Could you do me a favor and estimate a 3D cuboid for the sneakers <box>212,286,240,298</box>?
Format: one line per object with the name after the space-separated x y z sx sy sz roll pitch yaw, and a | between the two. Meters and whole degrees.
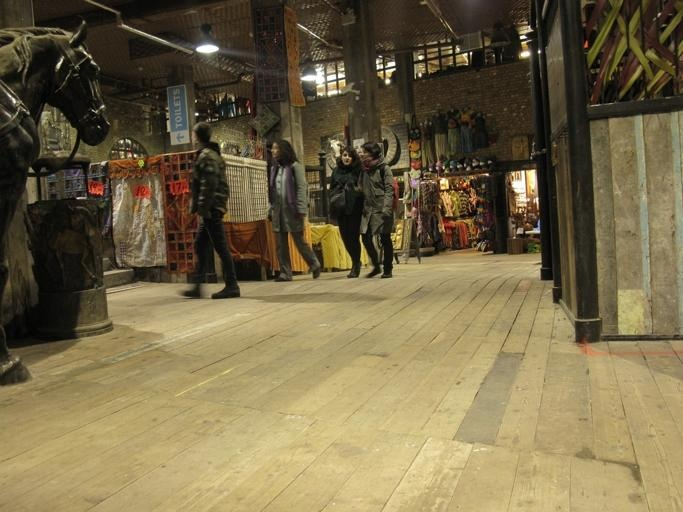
-1.388 0.442 6.294 0.348 0.158 0.132 3 -4 -9 | sneakers

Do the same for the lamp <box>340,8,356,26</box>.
0.186 -6.372 13.758 0.423 0.521 0.170 4 11 22 | lamp

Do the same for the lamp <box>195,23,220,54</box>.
-3.149 -5.123 12.043 0.414 0.822 0.844 -4 6 -15 | lamp

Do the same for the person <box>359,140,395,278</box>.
0.543 -0.672 7.534 0.536 1.975 0.458 1 6 34 | person

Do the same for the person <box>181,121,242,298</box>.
-1.589 -0.536 6.208 0.561 2.100 0.474 2 7 39 | person

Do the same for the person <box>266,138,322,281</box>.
-0.729 -0.637 7.380 0.748 2.081 0.513 2 7 41 | person

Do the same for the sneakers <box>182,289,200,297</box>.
-1.809 0.452 6.285 0.101 0.050 0.143 2 0 26 | sneakers

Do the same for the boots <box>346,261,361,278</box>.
0.209 0.234 7.833 0.261 0.265 0.121 5 -3 -25 | boots
